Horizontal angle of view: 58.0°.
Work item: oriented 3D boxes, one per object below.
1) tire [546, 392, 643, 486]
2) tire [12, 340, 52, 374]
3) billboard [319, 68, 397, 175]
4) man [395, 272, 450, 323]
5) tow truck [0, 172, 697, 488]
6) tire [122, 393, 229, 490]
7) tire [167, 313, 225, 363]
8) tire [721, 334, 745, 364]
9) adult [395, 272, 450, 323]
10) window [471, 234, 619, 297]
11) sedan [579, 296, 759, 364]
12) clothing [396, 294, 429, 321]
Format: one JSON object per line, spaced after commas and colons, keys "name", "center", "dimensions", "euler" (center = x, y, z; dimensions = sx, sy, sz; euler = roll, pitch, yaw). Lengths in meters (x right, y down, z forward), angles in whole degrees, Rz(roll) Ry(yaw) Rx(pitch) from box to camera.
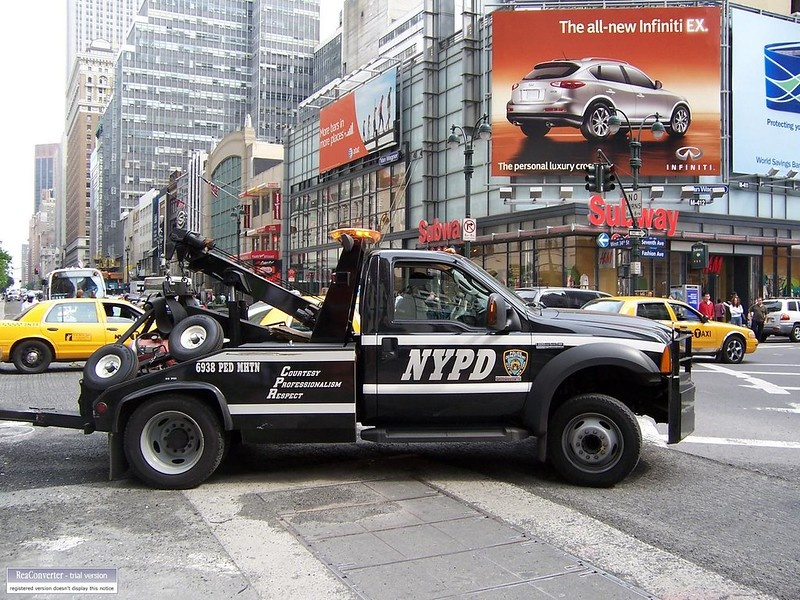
{"name": "tire", "center": [2.080, 1.523, 7.761], "dimensions": [0.766, 0.780, 0.328], "euler": [-26, -5, 6]}
{"name": "tire", "center": [-8.316, 1.255, 16.195], "dimensions": [0.671, 0.686, 0.237], "euler": [7, -11, -11]}
{"name": "billboard", "center": [-2.564, -11.331, 46.467], "dimensions": [0.150, 4.904, 8.762], "euler": [7, -10, -29]}
{"name": "man", "center": [0.257, -0.040, 8.056], "dimensions": [0.628, 0.613, 0.382], "euler": [-6, 9, -8]}
{"name": "tow truck", "center": [-0.082, 0.360, 9.410], "dimensions": [8.867, 3.832, 3.103], "euler": [-1, -1, 2]}
{"name": "tire", "center": [-2.399, 1.472, 7.618], "dimensions": [0.912, 0.936, 0.329], "euler": [5, -5, 4]}
{"name": "tire", "center": [-2.227, 0.422, 7.815], "dimensions": [0.549, 0.564, 0.161], "euler": [-20, -37, -5]}
{"name": "tire", "center": [8.754, 1.258, 18.820], "dimensions": [0.557, 0.559, 0.195], "euler": [-39, 19, -30]}
{"name": "adult", "center": [0.191, -0.038, 8.183], "dimensions": [0.670, 0.690, 0.385], "euler": [1, 1, -7]}
{"name": "window", "center": [8.753, -1.833, 36.840], "dimensions": [7.425, 2.583, 7.902], "euler": [-3, 7, -43]}
{"name": "sedan", "center": [7.301, 0.640, 19.127], "dimensions": [4.431, 1.363, 1.846], "euler": [2, 10, 2]}
{"name": "clothing", "center": [0.126, 0.092, 7.858], "dimensions": [0.343, 0.368, 0.218], "euler": [-6, 2, -13]}
